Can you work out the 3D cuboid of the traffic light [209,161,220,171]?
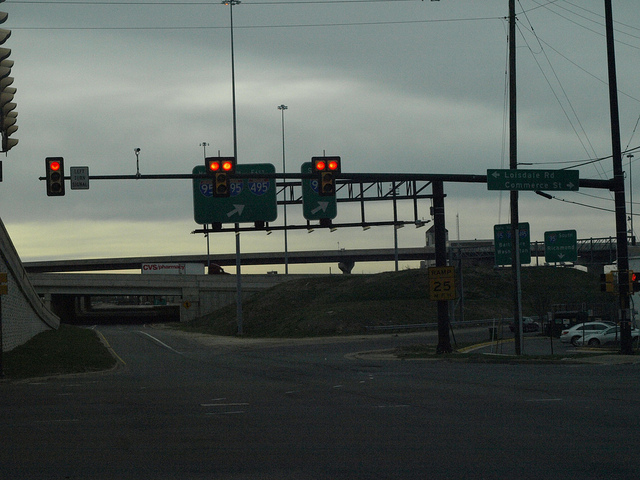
[{"bbox_3d":[-4.846,-3.377,63.512,0.636,0.608,0.362,1,3,8],"label":"traffic light"}]

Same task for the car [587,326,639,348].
[{"bbox_3d":[15.980,5.320,75.031,2.745,0.925,1.250,-2,-4,22],"label":"car"}]

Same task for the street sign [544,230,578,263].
[{"bbox_3d":[14.816,0.377,84.078,2.024,2.016,0.093,0,3,45],"label":"street sign"}]

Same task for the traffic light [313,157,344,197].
[{"bbox_3d":[0.321,-2.953,63.933,1.230,1.749,0.492,0,2,-1],"label":"traffic light"}]

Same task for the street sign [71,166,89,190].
[{"bbox_3d":[-10.976,-2.819,62.896,0.798,0.974,0.661,-1,2,-10],"label":"street sign"}]

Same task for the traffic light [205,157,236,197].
[{"bbox_3d":[-4.589,-2.917,63.463,1.273,1.761,0.385,-1,2,-7],"label":"traffic light"}]

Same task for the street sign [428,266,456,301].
[{"bbox_3d":[6.147,2.167,68.746,1.664,2.166,0.082,-2,0,11],"label":"street sign"}]
